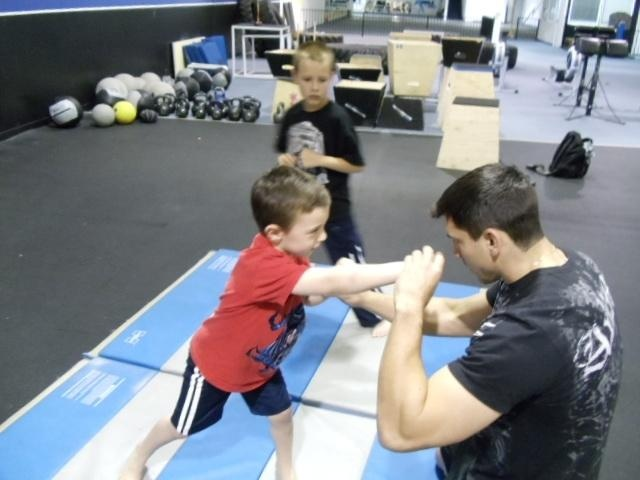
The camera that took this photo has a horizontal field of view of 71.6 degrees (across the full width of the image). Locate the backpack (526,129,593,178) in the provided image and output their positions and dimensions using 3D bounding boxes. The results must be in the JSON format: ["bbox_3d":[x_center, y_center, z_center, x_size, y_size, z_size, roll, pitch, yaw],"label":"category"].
[{"bbox_3d":[3.007,-1.028,5.467,0.698,0.398,0.592,-14,28,19],"label":"backpack"}]

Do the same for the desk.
[{"bbox_3d":[-1.723,-5.106,11.690,1.385,1.398,0.891,1,38,-13],"label":"desk"}]
